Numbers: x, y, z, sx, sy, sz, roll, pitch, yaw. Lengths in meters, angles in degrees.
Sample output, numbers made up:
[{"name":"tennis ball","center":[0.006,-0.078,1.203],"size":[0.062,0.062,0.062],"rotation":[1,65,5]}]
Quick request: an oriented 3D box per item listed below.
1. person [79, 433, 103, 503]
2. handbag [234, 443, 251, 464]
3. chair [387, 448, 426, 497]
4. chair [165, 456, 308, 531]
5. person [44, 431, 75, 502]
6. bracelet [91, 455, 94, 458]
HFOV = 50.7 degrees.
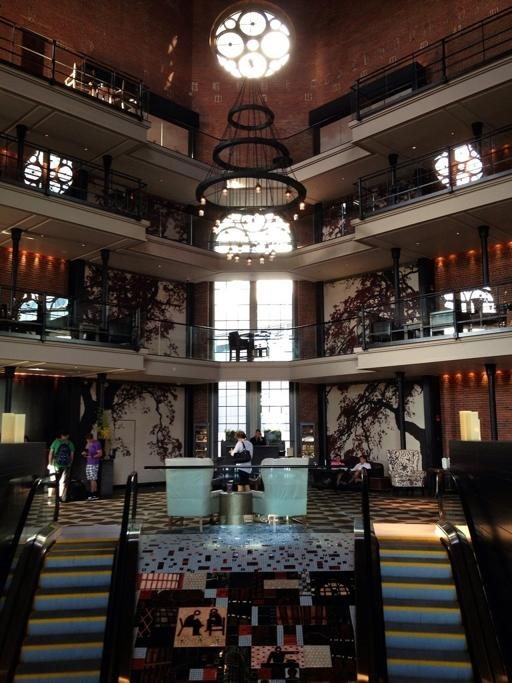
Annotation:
[{"name":"person","center":[-3.610,2.691,11.943],"size":[0.405,1.366,1.043],"rotation":[1,-4,-16]},{"name":"handbag","center":[-0.242,1.920,9.412],"size":[0.364,0.383,0.200],"rotation":[-1,-4,20]},{"name":"chair","center":[3.295,3.017,12.588],"size":[1.000,1.172,0.925],"rotation":[-1,-17,5]},{"name":"chair","center":[-0.282,2.190,7.868],"size":[2.047,0.994,0.675],"rotation":[-1,-4,0]},{"name":"person","center":[-4.109,2.564,11.302],"size":[0.462,1.504,0.435],"rotation":[7,-12,-23]},{"name":"bracelet","center":[-3.496,2.430,11.506],"size":[0.070,0.023,0.098],"rotation":[0,-2,-2]}]
